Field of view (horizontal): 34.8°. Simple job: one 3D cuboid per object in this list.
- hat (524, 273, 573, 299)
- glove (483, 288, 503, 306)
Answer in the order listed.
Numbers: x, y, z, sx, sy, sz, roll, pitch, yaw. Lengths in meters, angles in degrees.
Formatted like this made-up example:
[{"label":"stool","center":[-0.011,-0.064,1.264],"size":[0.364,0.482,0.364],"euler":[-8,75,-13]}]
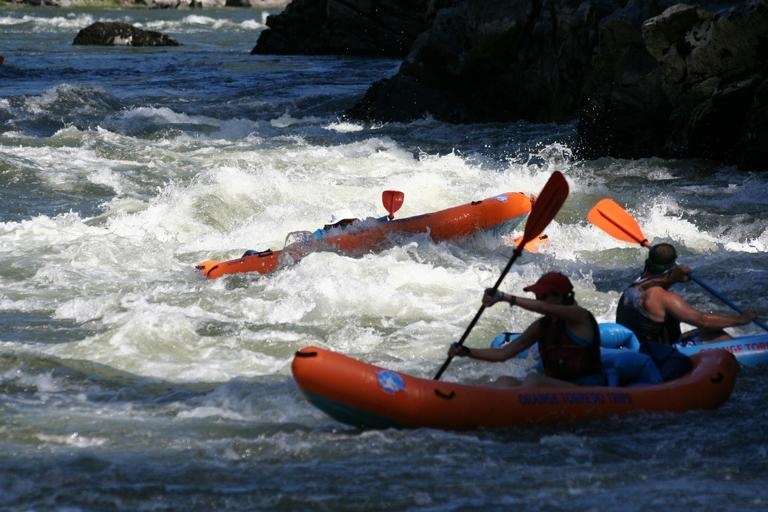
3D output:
[{"label":"hat","center":[2.402,0.429,18.335],"size":[0.632,0.255,0.375],"euler":[-2,-2,-1]},{"label":"glove","center":[1.586,0.610,18.363],"size":[0.342,0.293,0.209],"euler":[10,11,17]}]
